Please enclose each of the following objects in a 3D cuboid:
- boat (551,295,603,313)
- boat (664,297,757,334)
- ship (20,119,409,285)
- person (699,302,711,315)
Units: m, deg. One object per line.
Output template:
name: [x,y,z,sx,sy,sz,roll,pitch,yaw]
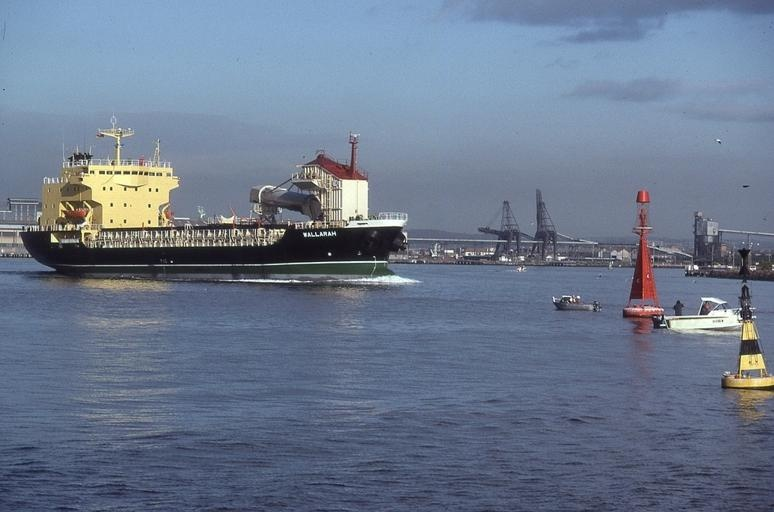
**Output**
boat: [11.454,2.900,115.803,3.362,1.020,1.076,2,-10,35]
boat: [17.559,3.298,105.303,6.396,1.752,1.888,-2,4,-6]
ship: [-12.510,-4.125,140.914,36.054,10.764,8.129,2,3,37]
person: [17.861,2.940,106.109,0.620,0.650,0.786,-1,-6,6]
